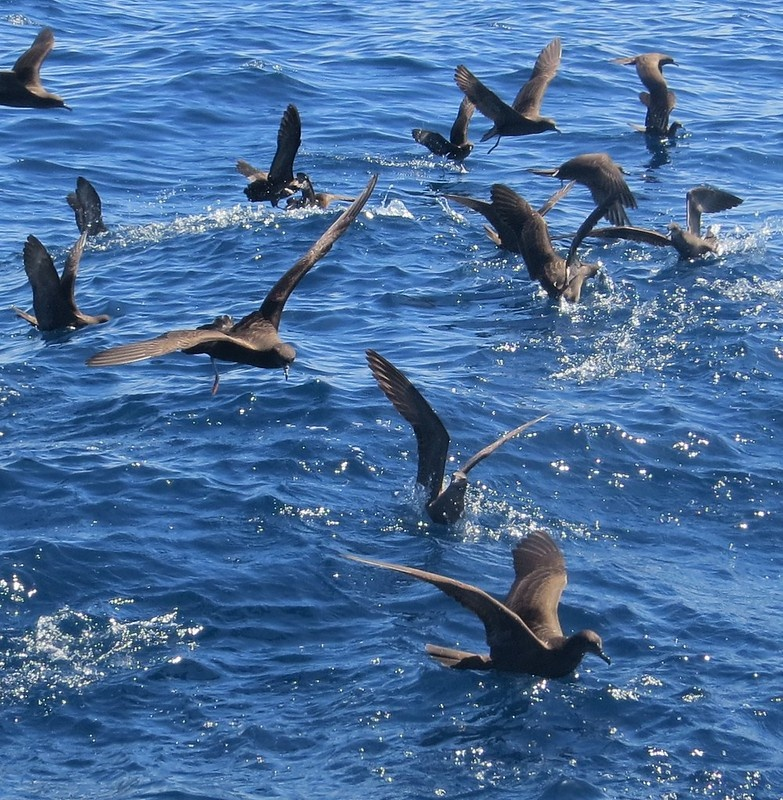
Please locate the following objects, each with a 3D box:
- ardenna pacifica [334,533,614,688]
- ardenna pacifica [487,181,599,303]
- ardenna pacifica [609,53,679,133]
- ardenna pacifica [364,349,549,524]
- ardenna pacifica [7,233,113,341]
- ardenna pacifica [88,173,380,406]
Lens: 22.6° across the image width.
[{"bbox_3d":[1.282,2.078,18.137,1.363,0.648,2.319,17,7,31],"label":"ardenna pacifica"},{"bbox_3d":[1.527,-1.899,24.734,1.526,0.815,1.564,-14,11,22],"label":"ardenna pacifica"},{"bbox_3d":[4.095,-4.717,31.222,0.778,1.424,1.246,8,28,5],"label":"ardenna pacifica"},{"bbox_3d":[0.450,0.409,19.642,0.947,2.059,1.214,28,36,35],"label":"ardenna pacifica"},{"bbox_3d":[-3.990,-1.393,23.348,1.417,1.203,1.075,15,21,23],"label":"ardenna pacifica"},{"bbox_3d":[-1.378,-0.707,18.773,1.099,2.342,3.437,16,29,18],"label":"ardenna pacifica"}]
